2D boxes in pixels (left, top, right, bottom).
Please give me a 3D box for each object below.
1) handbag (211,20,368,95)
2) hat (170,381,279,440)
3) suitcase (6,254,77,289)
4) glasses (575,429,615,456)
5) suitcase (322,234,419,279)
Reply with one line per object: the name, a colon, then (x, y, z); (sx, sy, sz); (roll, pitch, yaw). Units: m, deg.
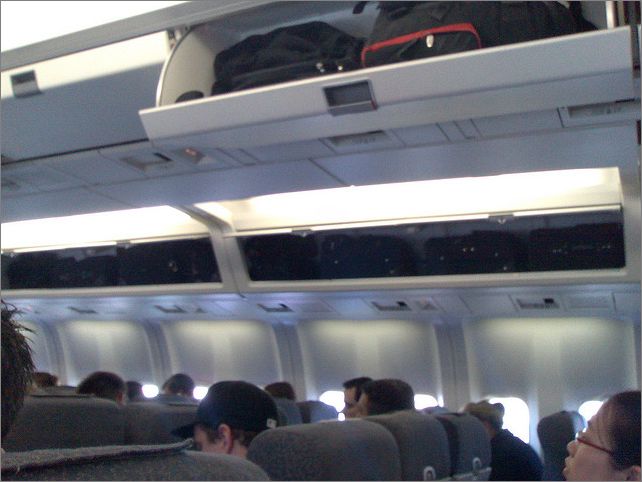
handbag: (-0.206, -1.224, 3.546); (0.906, 0.533, 0.195); (-8, -50, 11)
hat: (-0.576, 0.993, 3.300); (0.520, 0.260, 0.357); (2, -20, 5)
suitcase: (-3.932, 0.398, 7.830); (1.168, 0.529, 0.250); (3, 17, 8)
glasses: (1.447, 1.057, 2.868); (0.169, 0.045, 0.158); (16, -10, 31)
suitcase: (0.499, 0.163, 5.897); (1.058, 0.455, 0.479); (-3, -9, 9)
